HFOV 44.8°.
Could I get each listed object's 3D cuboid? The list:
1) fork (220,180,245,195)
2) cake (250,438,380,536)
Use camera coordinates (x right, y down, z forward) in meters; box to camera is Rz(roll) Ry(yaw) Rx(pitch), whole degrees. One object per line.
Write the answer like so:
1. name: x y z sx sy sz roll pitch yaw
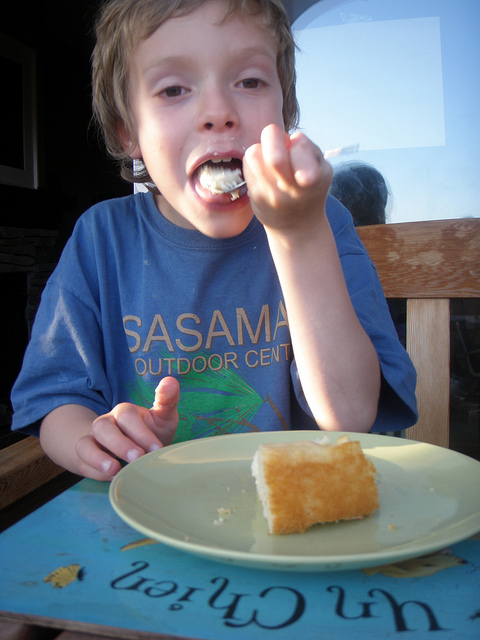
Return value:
1. fork: -0.012 -0.217 0.957 0.038 0.020 0.012 2 13 19
2. cake: 0.085 0.172 0.608 0.123 0.053 0.117 -2 11 -5
